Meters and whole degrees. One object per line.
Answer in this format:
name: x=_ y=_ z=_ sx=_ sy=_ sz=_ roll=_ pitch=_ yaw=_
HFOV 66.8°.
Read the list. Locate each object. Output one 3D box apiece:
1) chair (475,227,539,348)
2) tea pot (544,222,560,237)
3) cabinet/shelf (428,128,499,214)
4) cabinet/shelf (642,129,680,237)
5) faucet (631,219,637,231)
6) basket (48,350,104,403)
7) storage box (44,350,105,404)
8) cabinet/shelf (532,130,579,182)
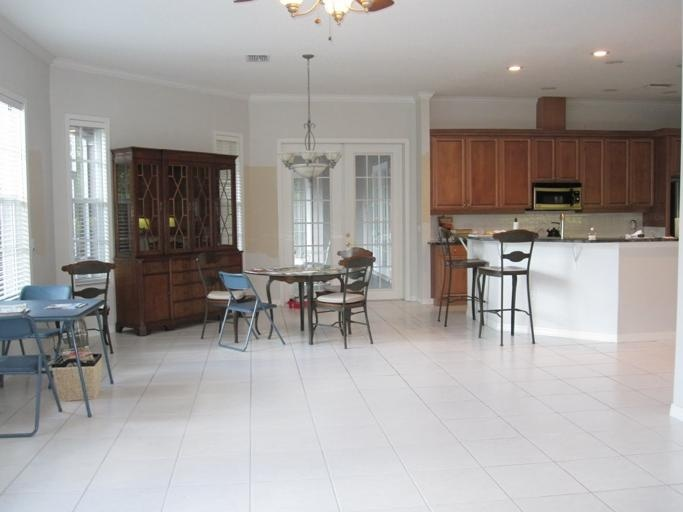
chair: x=2.050 y=0.346 z=6.406 sx=0.718 sy=1.376 sz=1.055 roll=2 pitch=10 yaw=15
tea pot: x=3.694 y=-0.458 z=9.052 sx=0.269 sy=0.249 sz=0.241 roll=2 pitch=2 yaw=9
cabinet/shelf: x=1.986 y=-1.439 z=8.522 sx=1.498 sy=1.538 sz=0.616 roll=0 pitch=3 yaw=-1
cabinet/shelf: x=5.450 y=-1.239 z=8.803 sx=0.491 sy=1.756 sz=0.260 roll=8 pitch=14 yaw=42
faucet: x=5.198 y=-0.531 z=9.203 sx=0.122 sy=0.209 sz=0.071 roll=0 pitch=10 yaw=4
basket: x=-2.353 y=1.133 z=4.755 sx=0.388 sy=0.330 sz=0.461 roll=-5 pitch=-3 yaw=-2
storage box: x=-2.340 y=1.065 z=4.553 sx=0.362 sy=0.310 sz=0.436 roll=0 pitch=-3 yaw=-10
cabinet/shelf: x=3.569 y=-1.645 z=8.833 sx=0.978 sy=0.886 sz=0.452 roll=-1 pitch=3 yaw=-7
